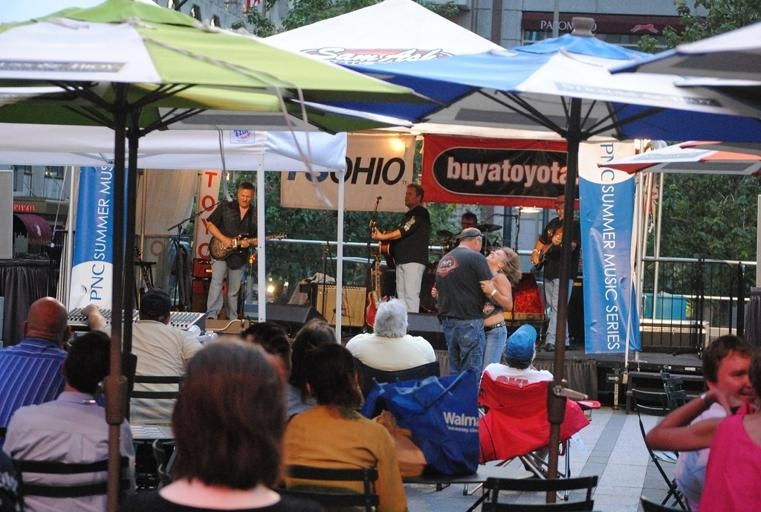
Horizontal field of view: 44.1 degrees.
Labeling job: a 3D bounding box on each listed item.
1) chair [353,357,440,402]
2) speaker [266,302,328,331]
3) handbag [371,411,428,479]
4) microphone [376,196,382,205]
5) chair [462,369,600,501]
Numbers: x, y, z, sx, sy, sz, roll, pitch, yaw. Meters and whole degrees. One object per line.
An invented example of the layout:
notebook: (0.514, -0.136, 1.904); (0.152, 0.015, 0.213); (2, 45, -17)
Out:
chair: (0.136, 1.002, 7.946); (0.468, 0.286, 0.486); (-5, -4, 16)
speaker: (-1.252, 0.797, 12.823); (0.604, 0.314, 0.446); (-1, -6, 22)
handbag: (0.097, 1.426, 7.245); (0.411, 0.574, 0.221); (-5, -31, -30)
microphone: (-0.019, -0.836, 13.939); (0.073, 0.123, 0.036); (22, 11, -9)
chair: (1.312, 1.507, 8.149); (1.019, 0.955, 0.930); (2, -5, 21)
